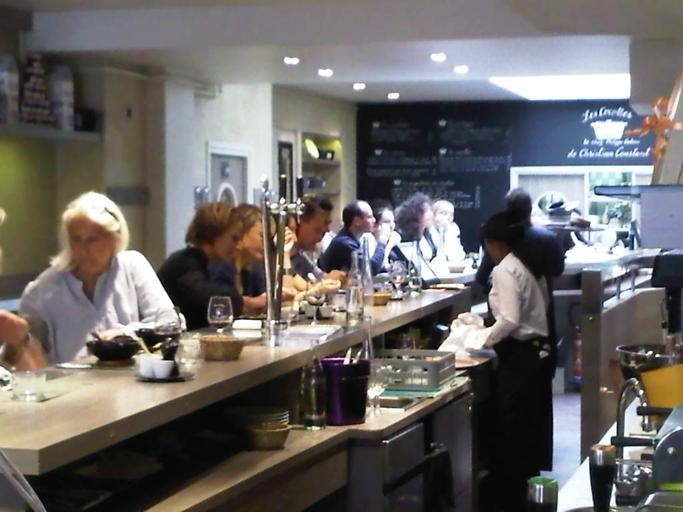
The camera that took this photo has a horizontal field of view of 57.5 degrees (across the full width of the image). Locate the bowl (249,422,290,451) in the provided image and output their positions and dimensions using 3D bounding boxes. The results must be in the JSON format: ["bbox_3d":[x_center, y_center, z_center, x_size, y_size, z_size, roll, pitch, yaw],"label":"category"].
[{"bbox_3d":[-0.219,0.555,1.931,0.087,0.034,0.089,-2,-5,0],"label":"bowl"}]

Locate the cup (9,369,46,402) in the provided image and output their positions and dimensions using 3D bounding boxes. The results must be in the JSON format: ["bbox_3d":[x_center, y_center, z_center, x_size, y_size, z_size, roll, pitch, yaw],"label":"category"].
[{"bbox_3d":[-0.779,0.324,1.569,0.076,0.078,0.074,2,-4,0],"label":"cup"}]

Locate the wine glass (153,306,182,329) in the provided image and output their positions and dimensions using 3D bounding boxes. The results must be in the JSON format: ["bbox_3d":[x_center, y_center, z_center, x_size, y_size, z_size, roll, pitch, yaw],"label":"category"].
[{"bbox_3d":[-0.556,0.201,2.020,0.079,0.078,0.081,2,-12,-5],"label":"wine glass"}]

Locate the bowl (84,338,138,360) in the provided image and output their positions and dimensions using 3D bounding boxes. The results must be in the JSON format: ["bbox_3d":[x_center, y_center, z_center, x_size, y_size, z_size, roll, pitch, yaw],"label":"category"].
[{"bbox_3d":[-0.719,0.300,1.976,0.155,0.082,0.083,-3,6,-26],"label":"bowl"}]

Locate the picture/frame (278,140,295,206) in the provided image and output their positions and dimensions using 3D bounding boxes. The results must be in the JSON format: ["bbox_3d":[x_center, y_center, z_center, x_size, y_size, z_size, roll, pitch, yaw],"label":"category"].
[{"bbox_3d":[-0.639,-0.969,7.401,0.039,0.769,0.418,-5,10,-29],"label":"picture/frame"}]

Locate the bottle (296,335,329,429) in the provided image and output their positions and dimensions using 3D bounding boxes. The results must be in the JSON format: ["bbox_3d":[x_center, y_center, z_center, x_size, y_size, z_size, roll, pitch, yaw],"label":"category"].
[{"bbox_3d":[-0.093,0.465,2.104,0.079,0.239,0.062,0,5,4],"label":"bottle"}]

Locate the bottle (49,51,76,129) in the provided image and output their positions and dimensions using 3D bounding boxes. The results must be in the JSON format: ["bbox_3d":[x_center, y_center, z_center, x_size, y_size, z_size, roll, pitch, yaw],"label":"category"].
[{"bbox_3d":[-2.189,-1.244,4.880,0.181,0.486,0.154,-5,7,-37],"label":"bottle"}]

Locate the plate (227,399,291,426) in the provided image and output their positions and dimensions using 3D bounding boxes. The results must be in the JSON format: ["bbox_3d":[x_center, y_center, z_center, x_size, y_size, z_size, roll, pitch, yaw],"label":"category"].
[{"bbox_3d":[-0.279,0.521,2.042,0.183,0.040,0.245,-3,5,-27],"label":"plate"}]

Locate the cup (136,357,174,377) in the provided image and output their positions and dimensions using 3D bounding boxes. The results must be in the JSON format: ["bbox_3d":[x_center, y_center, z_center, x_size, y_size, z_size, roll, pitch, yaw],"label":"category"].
[{"bbox_3d":[-0.528,0.311,1.783,0.066,0.045,0.073,1,-8,0],"label":"cup"}]

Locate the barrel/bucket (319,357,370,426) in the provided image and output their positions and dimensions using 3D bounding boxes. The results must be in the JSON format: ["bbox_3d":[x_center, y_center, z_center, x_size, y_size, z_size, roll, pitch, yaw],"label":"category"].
[{"bbox_3d":[0.038,0.469,2.202,0.185,0.206,0.188,-2,2,0],"label":"barrel/bucket"}]
